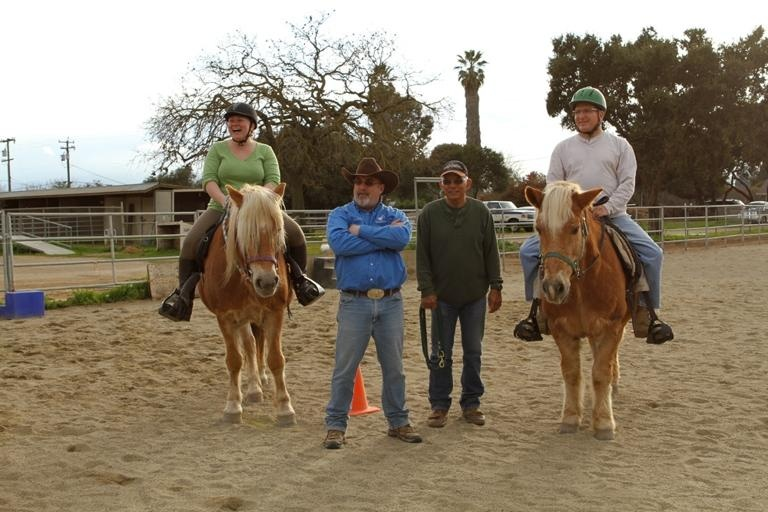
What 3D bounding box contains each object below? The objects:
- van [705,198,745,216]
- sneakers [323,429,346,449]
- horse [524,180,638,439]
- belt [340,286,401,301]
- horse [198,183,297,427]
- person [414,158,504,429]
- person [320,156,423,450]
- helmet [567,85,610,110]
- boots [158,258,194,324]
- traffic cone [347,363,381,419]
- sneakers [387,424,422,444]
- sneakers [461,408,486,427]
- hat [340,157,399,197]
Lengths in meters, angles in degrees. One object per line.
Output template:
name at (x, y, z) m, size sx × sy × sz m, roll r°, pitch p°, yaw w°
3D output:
van at (15.509, -2.207, 33.302) m, size 1.534 × 1.043 × 2.911 m, roll 0°, pitch 1°, yaw 21°
sneakers at (-0.521, 2.015, 8.094) m, size 0.297 × 0.179 × 0.228 m, roll -4°, pitch 12°, yaw -22°
horse at (2.269, 0.587, 8.317) m, size 1.448 × 2.860 × 0.978 m, roll -11°, pitch 15°, yaw -42°
belt at (-0.152, 0.414, 8.129) m, size 0.631 × 0.132 × 0.147 m, roll 0°, pitch 11°, yaw -3°
horse at (-1.631, 0.539, 8.833) m, size 1.037 × 2.836 × 1.571 m, roll -4°, pitch 12°, yaw -19°
person at (0.883, 0.446, 8.528) m, size 0.967 × 3.004 × 0.712 m, roll 0°, pitch 11°, yaw 2°
person at (-0.143, 0.495, 8.170) m, size 1.043 × 3.123 × 0.854 m, roll -1°, pitch 11°, yaw -6°
helmet at (2.529, -1.938, 8.978) m, size 0.379 × 0.268 × 0.678 m, roll 4°, pitch 12°, yaw 18°
boots at (-2.554, 0.453, 9.168) m, size 0.489 × 0.877 × 0.624 m, roll -4°, pitch 12°, yaw -19°
traffic cone at (-0.321, 1.675, 9.068) m, size 0.489 × 0.514 × 0.511 m, roll -3°, pitch -1°, yaw -10°
sneakers at (0.250, 2.006, 8.280) m, size 0.397 × 0.192 × 0.157 m, roll 8°, pitch 3°, yaw 33°
sneakers at (1.064, 1.901, 8.636) m, size 0.132 × 0.124 × 0.283 m, roll 1°, pitch -5°, yaw -22°
hat at (-0.154, -0.977, 8.298) m, size 0.569 × 0.246 × 0.658 m, roll 1°, pitch -6°, yaw 3°
